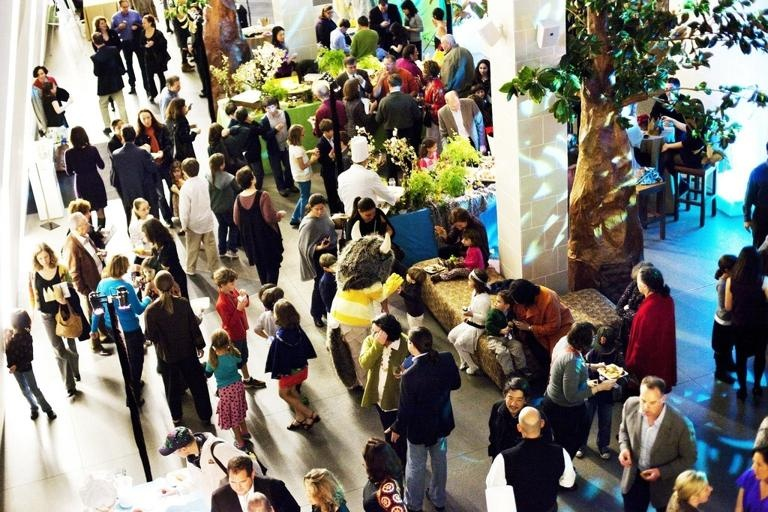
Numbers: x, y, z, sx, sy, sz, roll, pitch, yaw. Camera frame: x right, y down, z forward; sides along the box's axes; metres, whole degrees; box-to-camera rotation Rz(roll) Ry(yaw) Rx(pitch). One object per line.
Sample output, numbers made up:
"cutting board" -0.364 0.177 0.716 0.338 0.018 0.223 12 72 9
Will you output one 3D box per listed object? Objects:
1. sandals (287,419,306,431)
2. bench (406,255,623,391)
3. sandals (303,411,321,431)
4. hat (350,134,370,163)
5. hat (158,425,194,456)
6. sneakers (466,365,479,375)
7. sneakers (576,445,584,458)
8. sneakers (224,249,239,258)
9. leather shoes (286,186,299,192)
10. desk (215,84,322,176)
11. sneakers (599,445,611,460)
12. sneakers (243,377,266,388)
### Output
"sandals" -0.966 1.833 5.969 0.188 0.097 0.070 4 -28 1
"bench" 1.602 0.574 6.746 1.444 0.527 1.994 -15 40 -21
"sandals" -0.794 1.789 5.973 0.101 0.235 0.085 25 18 -5
"hat" -0.324 -1.458 7.437 0.268 0.345 0.339 -1 36 3
"hat" -1.750 1.539 4.546 0.293 0.249 0.174 0 4 19
"sneakers" 1.045 1.333 6.432 0.119 0.085 0.077 5 57 8
"sneakers" 1.962 1.945 5.469 0.107 0.118 0.039 -2 3 -15
"sneakers" -2.445 -0.030 8.716 0.096 0.114 0.247 20 25 20
"leather shoes" -1.716 -1.232 10.200 0.246 0.086 0.172 -9 -30 -7
"desk" -2.178 -2.807 10.662 1.803 1.079 1.797 -20 43 -24
"sneakers" 2.202 1.943 5.457 0.064 0.071 0.179 -9 41 -1
"sneakers" -1.553 1.502 6.507 0.283 0.129 0.109 3 26 2
